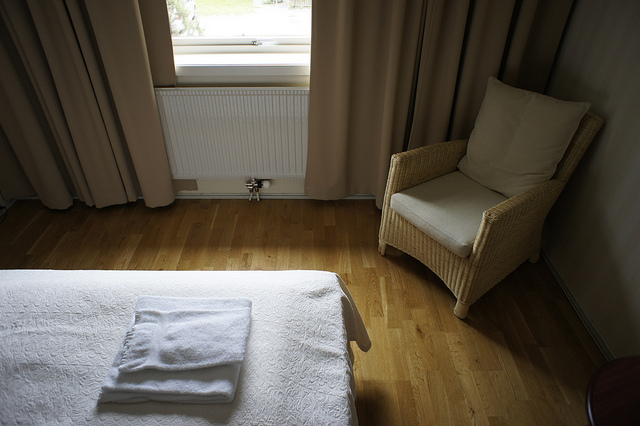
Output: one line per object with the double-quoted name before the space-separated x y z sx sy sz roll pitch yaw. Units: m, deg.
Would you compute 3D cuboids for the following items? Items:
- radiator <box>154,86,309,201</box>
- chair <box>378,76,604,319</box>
"radiator" -0.726 -0.599 3.216 0.953 0.814 0.100 0 35 1
"chair" 1.068 -0.174 2.736 1.028 1.199 0.905 -27 47 -31
